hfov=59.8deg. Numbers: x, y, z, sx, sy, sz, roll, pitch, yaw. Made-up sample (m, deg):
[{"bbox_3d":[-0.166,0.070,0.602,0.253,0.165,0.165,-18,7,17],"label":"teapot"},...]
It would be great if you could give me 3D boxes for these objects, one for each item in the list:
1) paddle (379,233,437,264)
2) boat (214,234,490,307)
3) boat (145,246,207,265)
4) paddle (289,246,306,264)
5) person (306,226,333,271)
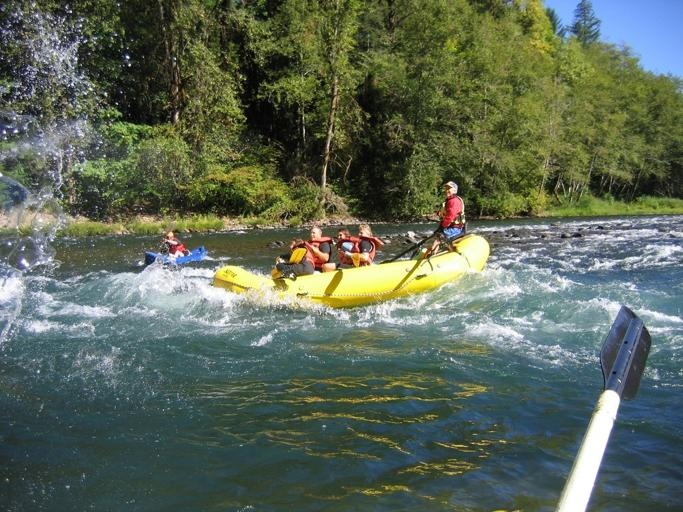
[{"bbox_3d":[1.691,-0.190,15.163,1.961,0.203,0.274,-26,15,-16],"label":"paddle"},{"bbox_3d":[0.423,0.424,11.129,3.864,0.656,1.988,-10,7,-10],"label":"boat"},{"bbox_3d":[-4.165,0.045,15.376,0.579,0.444,1.901,17,8,24],"label":"boat"},{"bbox_3d":[-0.802,-0.008,11.103,0.089,0.366,0.212,22,19,-52],"label":"paddle"},{"bbox_3d":[-0.318,-0.170,11.420,0.681,0.707,0.300,-20,-4,37],"label":"person"}]
